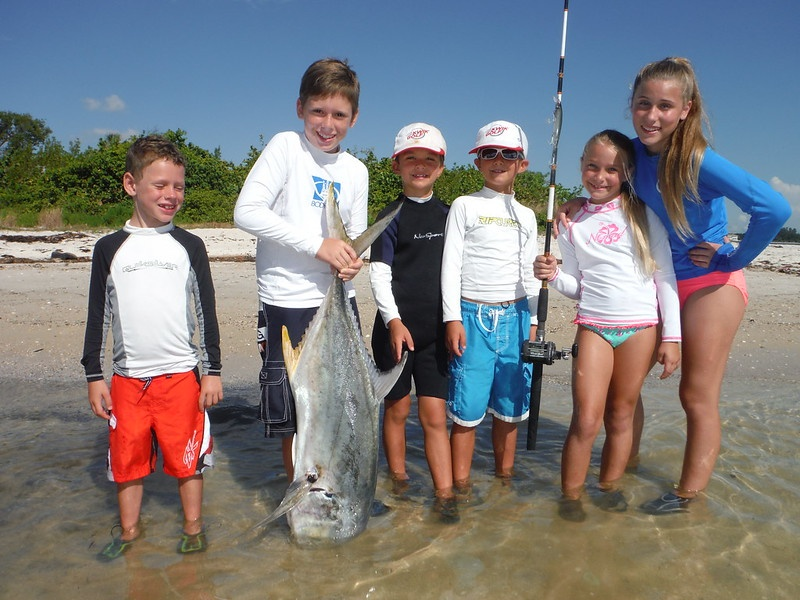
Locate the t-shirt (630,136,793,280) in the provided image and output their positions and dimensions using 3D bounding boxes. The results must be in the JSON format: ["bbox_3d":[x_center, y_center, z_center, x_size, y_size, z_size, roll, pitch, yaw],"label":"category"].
[{"bbox_3d":[1.888,-0.570,4.233,0.293,0.538,0.897,-32,35,-29],"label":"t-shirt"}]

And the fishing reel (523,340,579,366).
[{"bbox_3d":[0.999,0.346,4.414,0.301,0.142,0.167,1,-2,12],"label":"fishing reel"}]

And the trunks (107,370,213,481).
[{"bbox_3d":[-1.464,0.750,4.016,0.619,0.762,0.284,-1,-2,-10],"label":"trunks"}]

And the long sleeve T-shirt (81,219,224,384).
[{"bbox_3d":[-1.539,0.024,4.021,0.772,0.901,0.384,-7,16,-25],"label":"long sleeve T-shirt"}]

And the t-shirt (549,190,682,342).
[{"bbox_3d":[1.452,-0.188,4.492,0.725,1.167,0.540,-5,23,27],"label":"t-shirt"}]
